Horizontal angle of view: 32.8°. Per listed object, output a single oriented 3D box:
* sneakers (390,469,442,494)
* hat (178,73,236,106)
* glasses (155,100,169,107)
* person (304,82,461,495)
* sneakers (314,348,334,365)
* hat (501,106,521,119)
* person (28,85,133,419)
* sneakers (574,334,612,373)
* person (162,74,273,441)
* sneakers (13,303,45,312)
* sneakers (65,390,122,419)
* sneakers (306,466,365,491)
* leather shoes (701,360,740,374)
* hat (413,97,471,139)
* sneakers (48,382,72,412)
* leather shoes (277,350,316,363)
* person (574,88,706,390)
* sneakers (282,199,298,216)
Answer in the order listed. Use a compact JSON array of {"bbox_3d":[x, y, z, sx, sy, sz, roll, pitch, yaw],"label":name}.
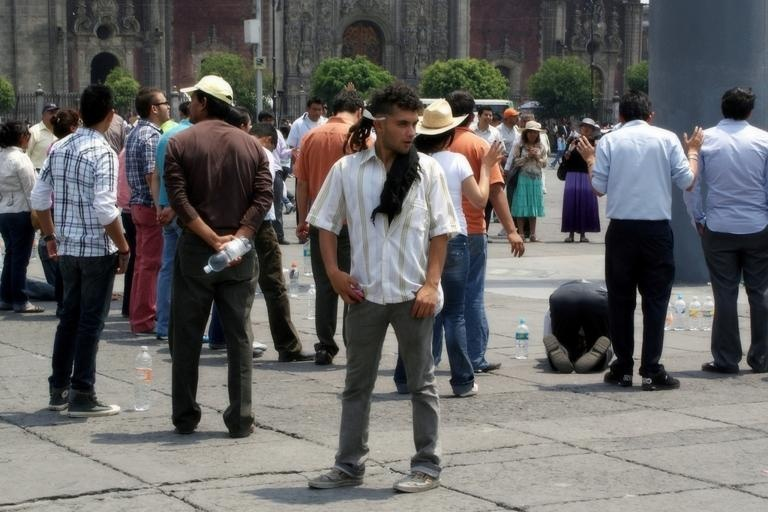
[{"bbox_3d":[0.266,1.829,10.506,0.330,0.124,0.162,1,-2,-10],"label":"sneakers"},{"bbox_3d":[-1.573,-1.501,11.676,0.464,0.220,0.301,7,2,-2],"label":"hat"},{"bbox_3d":[-2.466,-1.696,14.460,0.161,0.044,0.151,-2,3,-1],"label":"glasses"},{"bbox_3d":[0.023,0.247,10.537,1.113,3.210,0.851,1,12,2],"label":"person"},{"bbox_3d":[-0.614,1.044,13.467,0.169,0.147,0.355,1,3,-2],"label":"sneakers"},{"bbox_3d":[2.265,-2.538,23.193,0.396,0.194,0.273,-12,9,2],"label":"hat"},{"bbox_3d":[-2.708,-0.052,11.888,0.730,2.924,0.787,-2,12,-12],"label":"person"},{"bbox_3d":[2.144,1.011,13.303,0.141,0.417,0.182,44,-4,-12],"label":"sneakers"},{"bbox_3d":[-1.469,-0.009,11.561,0.883,3.043,1.043,1,12,0],"label":"person"},{"bbox_3d":[-4.289,0.642,15.801,0.284,0.112,0.141,-2,2,-13],"label":"sneakers"},{"bbox_3d":[-2.661,1.354,11.815,0.552,0.229,0.197,0,2,-24],"label":"sneakers"},{"bbox_3d":[-0.393,1.819,10.615,0.459,0.170,0.168,2,-3,-11],"label":"sneakers"},{"bbox_3d":[3.434,1.133,13.311,0.292,0.110,0.152,0,2,16],"label":"leather shoes"},{"bbox_3d":[0.573,-1.300,12.161,0.352,0.135,0.398,7,28,45],"label":"hat"},{"bbox_3d":[-2.982,1.320,11.872,0.126,0.161,0.369,3,4,8],"label":"sneakers"},{"bbox_3d":[-0.911,1.034,13.606,0.417,0.163,0.135,-2,3,-28],"label":"leather shoes"},{"bbox_3d":[2.514,-0.153,12.822,0.979,2.811,0.827,5,12,20],"label":"person"},{"bbox_3d":[-1.916,-0.975,26.716,0.213,0.164,0.495,24,-3,6],"label":"sneakers"}]
